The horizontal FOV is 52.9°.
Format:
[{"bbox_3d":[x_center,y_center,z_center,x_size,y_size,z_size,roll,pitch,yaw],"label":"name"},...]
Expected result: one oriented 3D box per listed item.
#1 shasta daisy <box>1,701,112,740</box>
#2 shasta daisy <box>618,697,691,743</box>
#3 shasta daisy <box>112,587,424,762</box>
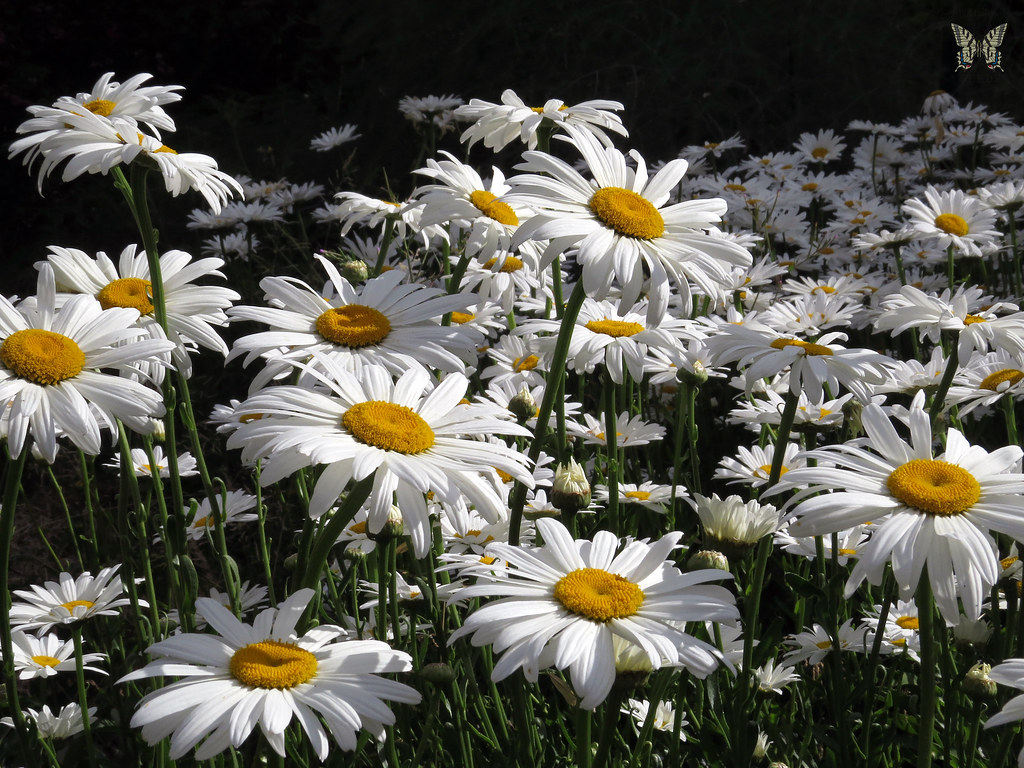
[{"bbox_3d":[-1.499,1.103,3.377,0.235,0.102,0.253,6,-1,22],"label":"shasta daisy"},{"bbox_3d":[0.456,1.058,3.317,0.207,0.101,0.213,6,2,-33],"label":"shasta daisy"},{"bbox_3d":[-0.602,0.749,2.574,0.499,0.160,0.538,11,20,14],"label":"shasta daisy"}]
